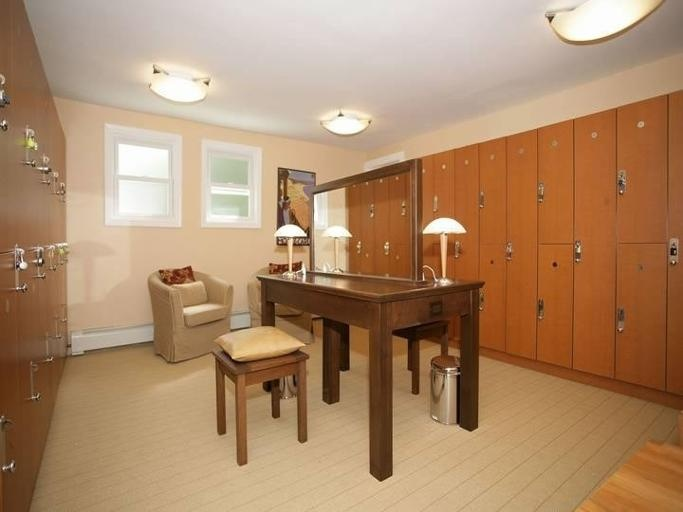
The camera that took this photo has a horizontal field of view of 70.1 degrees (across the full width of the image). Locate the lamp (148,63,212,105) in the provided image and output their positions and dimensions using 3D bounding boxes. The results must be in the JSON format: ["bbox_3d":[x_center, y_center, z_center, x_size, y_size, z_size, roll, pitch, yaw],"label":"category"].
[{"bbox_3d":[-1.640,-1.754,4.993,0.597,0.231,0.471,-1,3,-24],"label":"lamp"}]

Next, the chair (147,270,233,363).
[{"bbox_3d":[-1.715,0.688,5.621,0.796,0.888,0.680,-2,4,-39],"label":"chair"}]

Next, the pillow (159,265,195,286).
[{"bbox_3d":[-1.965,0.247,5.860,0.238,0.079,0.254,11,17,-38],"label":"pillow"}]

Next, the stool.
[{"bbox_3d":[-0.591,1.104,3.973,0.809,0.831,0.753,0,-4,-33],"label":"stool"}]

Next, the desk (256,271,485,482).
[{"bbox_3d":[0.224,1.209,4.164,1.308,1.516,2.086,2,-3,-36],"label":"desk"}]
